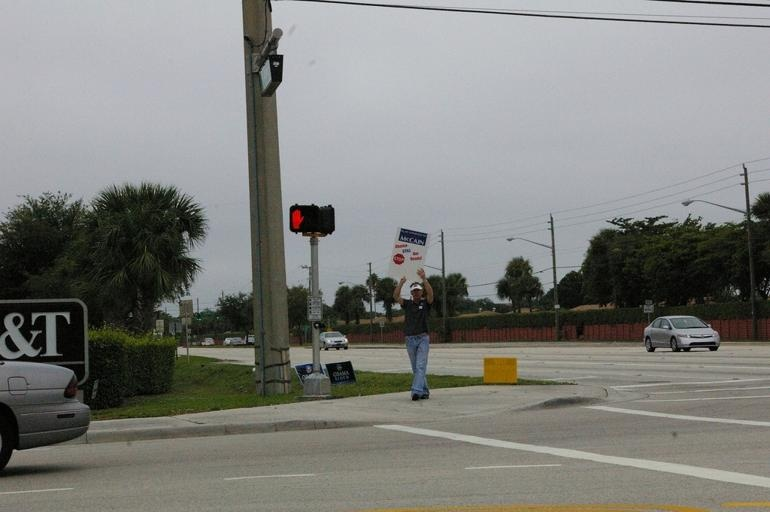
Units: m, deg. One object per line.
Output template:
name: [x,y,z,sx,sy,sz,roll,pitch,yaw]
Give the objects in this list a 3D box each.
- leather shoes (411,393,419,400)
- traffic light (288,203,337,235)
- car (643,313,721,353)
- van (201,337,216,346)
leather shoes: [0.736,3.403,23.699,0.109,0.205,0.187,-2,0,28]
traffic light: [-1.783,-0.887,24.103,1.036,0.833,0.953,0,-8,-9]
car: [12.539,3.267,41.482,1.782,1.643,3.950,2,-9,-22]
van: [-27.090,12.661,150.655,2.104,1.760,3.462,1,-8,-9]
